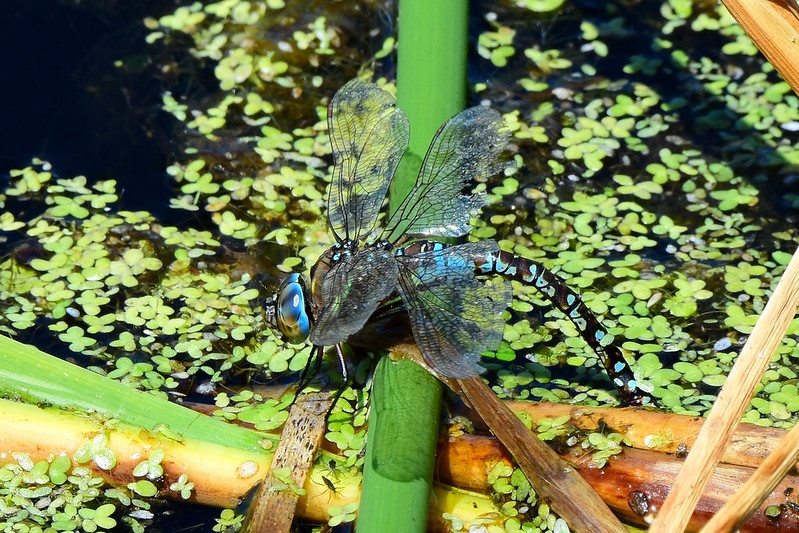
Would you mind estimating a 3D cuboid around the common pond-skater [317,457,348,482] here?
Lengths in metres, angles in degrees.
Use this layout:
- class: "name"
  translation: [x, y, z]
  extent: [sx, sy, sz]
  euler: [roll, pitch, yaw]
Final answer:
- class: "common pond-skater"
  translation: [-0.260, 0.796, 2.791]
  extent: [0.101, 0.023, 0.081]
  euler: [-4, 55, -16]
